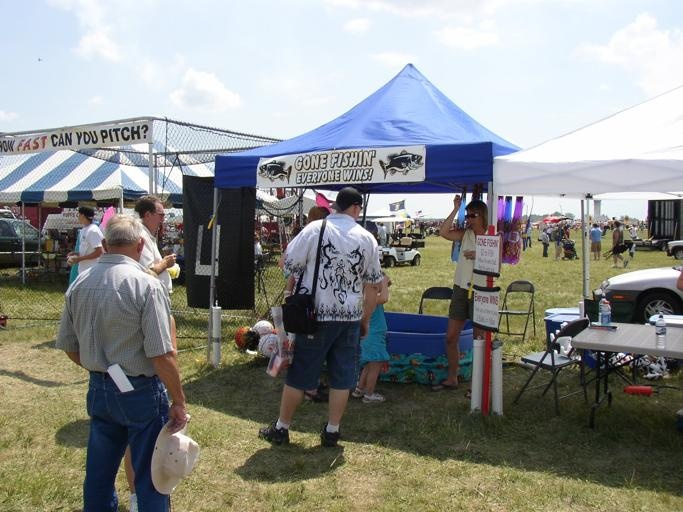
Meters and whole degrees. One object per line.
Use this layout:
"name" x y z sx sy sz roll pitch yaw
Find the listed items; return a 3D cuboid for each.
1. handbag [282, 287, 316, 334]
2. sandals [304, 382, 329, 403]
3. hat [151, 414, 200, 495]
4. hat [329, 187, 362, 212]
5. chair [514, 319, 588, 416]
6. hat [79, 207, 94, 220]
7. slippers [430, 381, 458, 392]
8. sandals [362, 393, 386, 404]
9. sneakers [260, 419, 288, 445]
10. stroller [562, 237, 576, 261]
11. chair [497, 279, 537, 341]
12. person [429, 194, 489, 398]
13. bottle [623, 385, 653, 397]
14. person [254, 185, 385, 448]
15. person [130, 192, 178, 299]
"handbag" -0.390 0.540 6.074 0.318 0.400 0.209 -3 -2 29
"sandals" -0.270 1.557 7.581 0.206 0.150 0.383 2 -7 -26
"hat" -1.157 1.394 4.571 0.158 0.458 0.386 7 -18 35
"hat" 0.045 -0.532 6.145 0.246 0.206 0.347 5 9 30
"chair" 2.175 1.193 7.315 0.617 0.928 0.665 7 -3 -36
"hat" -3.338 -0.570 8.684 0.123 0.184 0.162 0 5 4
"slippers" 1.199 1.519 7.721 0.287 0.089 0.120 4 -4 -5
"sandals" 0.353 1.598 7.413 0.221 0.108 0.102 -1 -2 -7
"sneakers" -0.650 1.714 6.434 0.288 0.153 0.150 12 7 43
"stroller" 9.015 -0.254 26.434 0.786 0.939 0.674 0 -1 -43
"chair" 2.661 0.831 10.024 0.581 0.946 0.572 2 -1 -38
"person" 1.346 0.451 7.438 0.509 2.265 0.311 8 13 41
"bottle" 3.359 1.535 7.523 0.189 0.077 0.150 -1 2 19
"person" -0.157 0.576 6.389 0.911 2.522 0.765 7 -1 -2
"person" -1.907 0.110 6.759 0.473 1.466 0.565 0 24 -21
